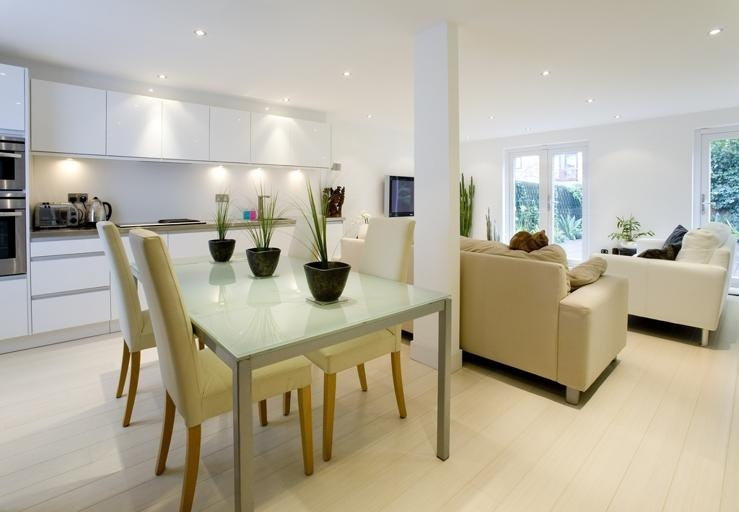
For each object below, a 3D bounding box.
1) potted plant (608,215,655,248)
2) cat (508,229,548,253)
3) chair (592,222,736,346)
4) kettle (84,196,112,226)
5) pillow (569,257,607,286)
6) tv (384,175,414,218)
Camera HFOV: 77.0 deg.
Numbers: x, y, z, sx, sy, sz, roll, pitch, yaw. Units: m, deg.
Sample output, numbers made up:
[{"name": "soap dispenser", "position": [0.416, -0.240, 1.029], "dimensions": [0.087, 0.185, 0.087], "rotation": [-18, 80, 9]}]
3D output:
[{"name": "potted plant", "position": [4.270, -0.421, 7.715], "dimensions": [0.596, 0.739, 0.542], "rotation": [-7, 8, -31]}, {"name": "cat", "position": [1.441, -0.138, 4.233], "dimensions": [0.307, 0.182, 0.208], "rotation": [1, 10, 26]}, {"name": "chair", "position": [3.247, 0.391, 5.073], "dimensions": [1.046, 1.030, 1.904], "rotation": [2, 5, 40]}, {"name": "kettle", "position": [-3.055, -0.510, 5.211], "dimensions": [0.209, 0.310, 0.349], "rotation": [-4, 8, -9]}, {"name": "pillow", "position": [1.925, 0.139, 4.090], "dimensions": [0.283, 0.094, 0.308], "rotation": [-23, 11, 35]}, {"name": "tv", "position": [0.521, -1.084, 8.340], "dimensions": [0.207, 0.723, 0.746], "rotation": [4, 11, 38]}]
